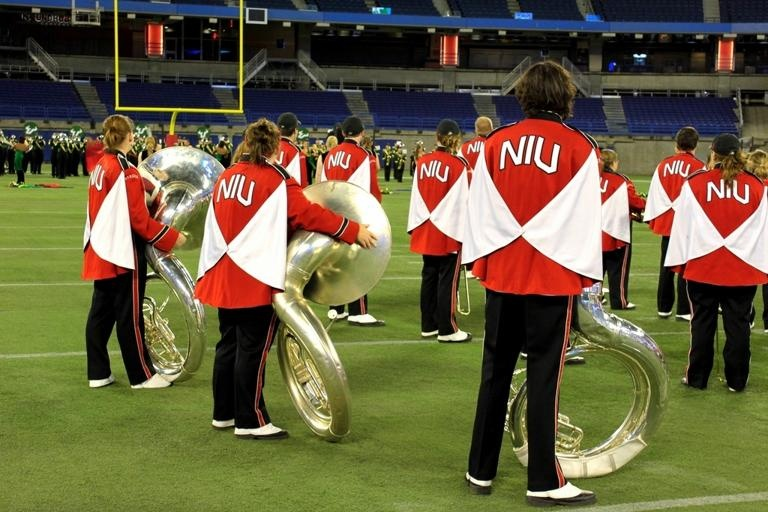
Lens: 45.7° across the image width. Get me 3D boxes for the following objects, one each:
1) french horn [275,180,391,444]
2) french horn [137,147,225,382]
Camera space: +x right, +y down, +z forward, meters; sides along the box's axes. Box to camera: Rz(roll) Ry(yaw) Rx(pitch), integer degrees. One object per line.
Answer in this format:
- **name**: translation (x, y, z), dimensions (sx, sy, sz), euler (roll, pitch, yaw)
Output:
- **french horn**: translation (-0.363, 0.361, 6.094), dimensions (0.779, 1.713, 0.508), euler (1, 5, 4)
- **french horn**: translation (-1.566, 0.049, 7.086), dimensions (0.815, 1.763, 0.800), euler (-1, 3, -39)
